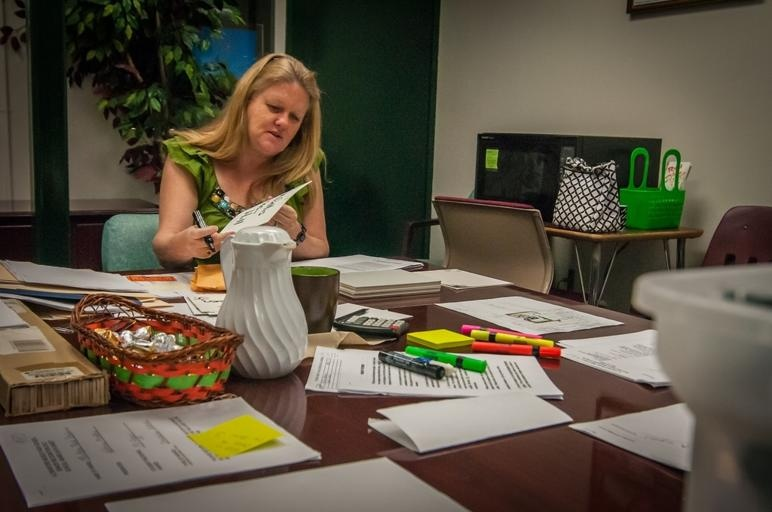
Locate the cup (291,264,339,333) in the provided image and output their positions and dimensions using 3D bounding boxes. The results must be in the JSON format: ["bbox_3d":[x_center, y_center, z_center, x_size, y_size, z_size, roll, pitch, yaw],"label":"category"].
[{"bbox_3d":[-0.134,0.069,1.070,0.080,0.129,0.093,16,16,41],"label":"cup"}]

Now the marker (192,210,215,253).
[{"bbox_3d":[-0.510,-0.067,1.539,0.032,0.031,0.188,41,16,-52],"label":"marker"}]

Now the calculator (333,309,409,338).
[{"bbox_3d":[-0.028,0.123,1.090,0.137,0.035,0.139,5,7,44],"label":"calculator"}]
